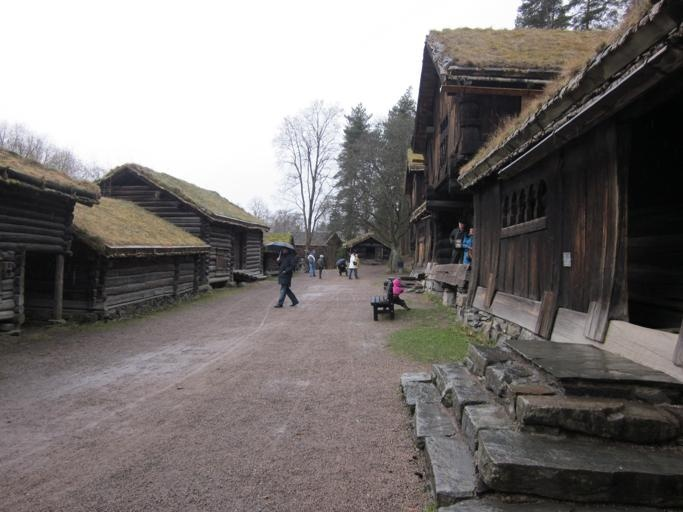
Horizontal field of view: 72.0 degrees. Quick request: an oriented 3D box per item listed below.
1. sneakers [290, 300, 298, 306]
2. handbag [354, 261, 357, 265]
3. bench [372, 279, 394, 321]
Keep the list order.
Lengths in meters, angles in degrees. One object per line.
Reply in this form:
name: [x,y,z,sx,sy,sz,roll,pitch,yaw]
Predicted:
sneakers: [-1.486,1.467,14.713,0.270,0.198,0.103,0,28,31]
handbag: [0.783,0.409,27.868,0.138,0.237,0.143,0,5,12]
bench: [1.052,1.088,12.228,0.549,1.061,1.616,0,9,5]
